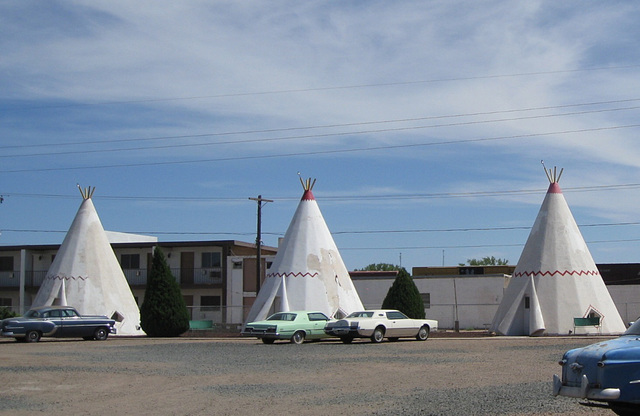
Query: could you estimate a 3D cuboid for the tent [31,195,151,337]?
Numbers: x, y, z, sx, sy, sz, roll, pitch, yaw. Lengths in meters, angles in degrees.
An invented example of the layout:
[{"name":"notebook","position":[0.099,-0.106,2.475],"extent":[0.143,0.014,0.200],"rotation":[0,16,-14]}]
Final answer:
[{"name":"tent","position":[-11.424,2.658,38.811],"extent":[7.046,7.046,7.202],"rotation":[5,10,35]}]
